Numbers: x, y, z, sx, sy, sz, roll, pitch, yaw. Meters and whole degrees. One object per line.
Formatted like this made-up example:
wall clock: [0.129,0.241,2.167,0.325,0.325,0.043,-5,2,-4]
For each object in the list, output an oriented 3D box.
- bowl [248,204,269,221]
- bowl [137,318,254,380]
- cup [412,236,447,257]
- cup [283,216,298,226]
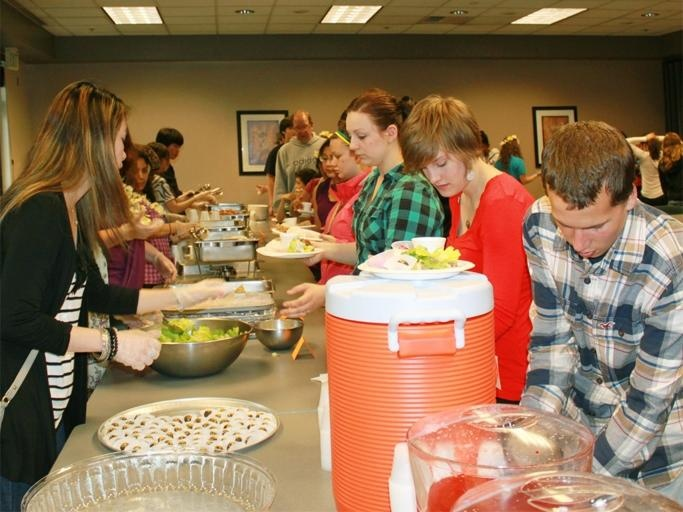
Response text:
bowl: [-0.939,-0.484,5.861,0.222,0.164,0.211,0,0,0]
bowl: [-0.488,0.329,1.949,0.294,0.102,0.297,-1,11,0]
cup: [0.203,-0.023,1.217,0.053,0.034,0.051,-2,3,0]
cup: [-0.438,-0.276,4.155,0.141,0.087,0.106,-2,3,20]
